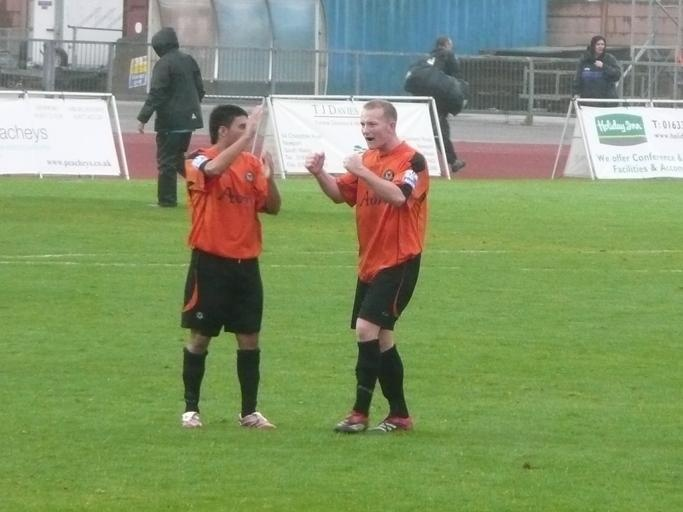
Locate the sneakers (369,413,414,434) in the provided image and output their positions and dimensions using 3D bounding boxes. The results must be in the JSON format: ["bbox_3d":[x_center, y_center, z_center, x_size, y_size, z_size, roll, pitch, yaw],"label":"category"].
[{"bbox_3d":[0.370,1.271,10.357,0.321,0.123,0.113,1,-7,3],"label":"sneakers"}]

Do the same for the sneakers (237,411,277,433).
[{"bbox_3d":[-0.625,1.236,10.326,0.221,0.082,0.115,0,1,18],"label":"sneakers"}]

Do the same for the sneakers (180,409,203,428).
[{"bbox_3d":[-1.106,1.209,10.281,0.147,0.113,0.153,0,8,-7],"label":"sneakers"}]

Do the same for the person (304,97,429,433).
[{"bbox_3d":[0.252,0.056,10.511,0.818,2.439,0.861,-1,9,-14],"label":"person"}]

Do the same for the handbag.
[{"bbox_3d":[1.613,-2.987,24.122,1.049,1.049,0.593,2,9,6],"label":"handbag"}]

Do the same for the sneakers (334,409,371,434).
[{"bbox_3d":[0.077,1.232,10.276,0.249,0.158,0.109,-6,11,-39],"label":"sneakers"}]

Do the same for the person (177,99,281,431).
[{"bbox_3d":[-0.831,0.065,10.401,0.717,2.357,0.696,1,9,-3],"label":"person"}]

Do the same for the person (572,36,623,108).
[{"bbox_3d":[4.409,-3.263,24.087,0.733,1.057,0.928,2,9,8],"label":"person"}]
